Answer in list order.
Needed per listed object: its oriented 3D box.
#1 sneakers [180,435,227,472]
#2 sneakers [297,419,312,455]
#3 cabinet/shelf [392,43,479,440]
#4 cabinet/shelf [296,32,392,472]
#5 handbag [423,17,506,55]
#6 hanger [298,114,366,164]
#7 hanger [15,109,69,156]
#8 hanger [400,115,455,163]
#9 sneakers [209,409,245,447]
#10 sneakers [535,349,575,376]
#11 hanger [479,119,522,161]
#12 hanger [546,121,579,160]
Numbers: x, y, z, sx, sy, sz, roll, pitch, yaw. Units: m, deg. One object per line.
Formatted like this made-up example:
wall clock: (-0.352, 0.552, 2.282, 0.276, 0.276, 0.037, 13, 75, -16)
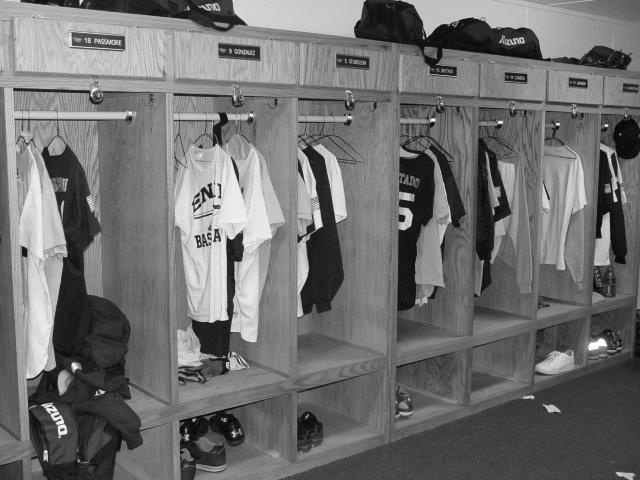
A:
sneakers: (-0.658, 1.267, 3.126, 0.298, 0.142, 0.127, 12, 10, 28)
sneakers: (-0.084, 1.257, 3.424, 0.120, 0.216, 0.139, 1, -19, -14)
cabinet/shelf: (0.777, -0.006, 3.895, 0.667, 2.582, 0.607, -4, 11, -30)
cabinet/shelf: (0.133, 0.045, 3.548, 0.669, 2.606, 0.844, -2, 10, -20)
handbag: (1.081, -1.412, 3.885, 0.450, 0.202, 0.369, 0, 17, -2)
hanger: (0.102, -0.666, 3.532, 0.376, 0.262, 0.050, 6, 9, 28)
hanger: (-1.445, -0.558, 2.745, 0.319, 0.206, 0.074, -2, 10, -17)
hanger: (0.815, -0.742, 3.924, 0.341, 0.247, 0.055, 12, 17, 39)
sneakers: (-0.575, 1.189, 3.323, 0.138, 0.112, 0.242, -17, 21, -38)
sneakers: (2.083, 1.088, 4.746, 0.443, 0.202, 0.165, -3, 4, -36)
hanger: (1.497, -0.811, 4.342, 0.323, 0.233, 0.119, 10, 19, 24)
hanger: (2.200, -0.895, 4.782, 0.034, 0.221, 0.340, -14, 22, -36)
